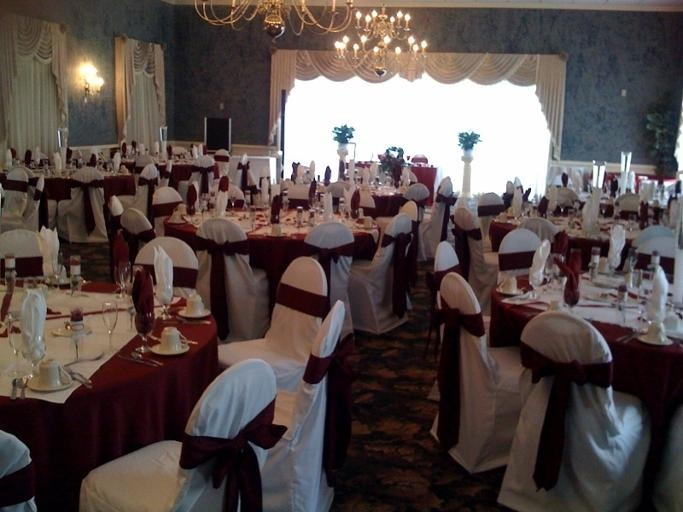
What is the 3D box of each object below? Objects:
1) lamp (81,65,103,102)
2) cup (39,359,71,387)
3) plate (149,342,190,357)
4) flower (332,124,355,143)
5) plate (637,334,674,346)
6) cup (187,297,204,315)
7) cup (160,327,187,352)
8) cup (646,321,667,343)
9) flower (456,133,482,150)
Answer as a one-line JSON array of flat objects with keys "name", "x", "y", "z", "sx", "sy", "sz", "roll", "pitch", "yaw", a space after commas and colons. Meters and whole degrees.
[{"name": "lamp", "x": -5.109, "y": -3.530, "z": 11.408, "sx": 0.230, "sy": 1.043, "sz": 0.599, "roll": 2, "pitch": 11, "yaw": 5}, {"name": "cup", "x": -1.357, "y": 0.555, "z": 2.688, "sx": 0.129, "sy": 0.126, "sz": 0.091, "roll": 10, "pitch": 1, "yaw": 0}, {"name": "plate", "x": -0.913, "y": 0.492, "z": 3.002, "sx": 0.105, "sy": 0.051, "sz": 0.111, "roll": 5, "pitch": 6, "yaw": 41}, {"name": "flower", "x": 0.041, "y": -2.433, "z": 11.167, "sx": 0.400, "sy": 0.373, "sz": 0.236, "roll": 1, "pitch": 9, "yaw": -4}, {"name": "plate", "x": 1.883, "y": 0.491, "z": 3.350, "sx": 0.212, "sy": 0.050, "sz": 0.112, "roll": 2, "pitch": 10, "yaw": 0}, {"name": "cup", "x": -0.910, "y": 0.291, "z": 3.499, "sx": 0.086, "sy": 0.112, "sz": 0.090, "roll": 0, "pitch": 12, "yaw": 0}, {"name": "cup", "x": -0.916, "y": 0.448, "z": 3.054, "sx": 0.120, "sy": 0.146, "sz": 0.114, "roll": -2, "pitch": 8, "yaw": 0}, {"name": "cup", "x": 1.882, "y": 0.453, "z": 3.345, "sx": 0.093, "sy": 0.080, "sz": 0.110, "roll": -7, "pitch": 10, "yaw": 2}, {"name": "flower", "x": 2.837, "y": -2.584, "z": 12.672, "sx": 0.330, "sy": 0.317, "sz": 0.391, "roll": 0, "pitch": 11, "yaw": 0}]
